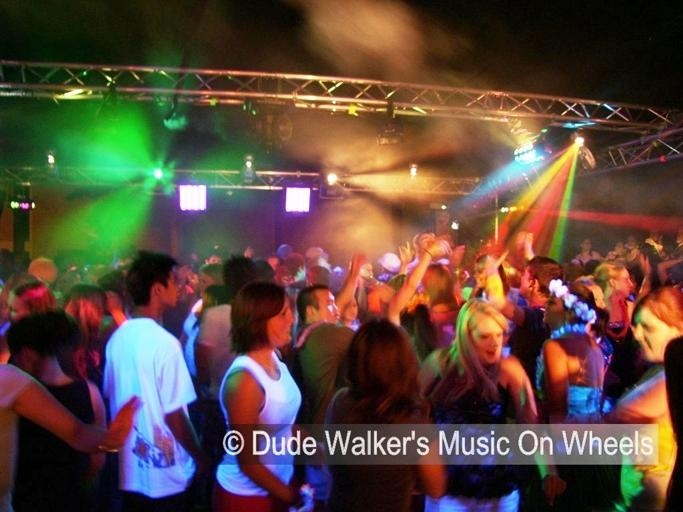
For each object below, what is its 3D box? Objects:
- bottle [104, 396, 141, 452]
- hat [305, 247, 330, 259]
[{"bbox_3d":[-1.454,1.122,3.769,0.183,0.353,0.210,5,-12,-18],"label":"bottle"},{"bbox_3d":[-0.427,-0.054,9.461,0.292,0.118,0.343,6,-11,-12],"label":"hat"}]
